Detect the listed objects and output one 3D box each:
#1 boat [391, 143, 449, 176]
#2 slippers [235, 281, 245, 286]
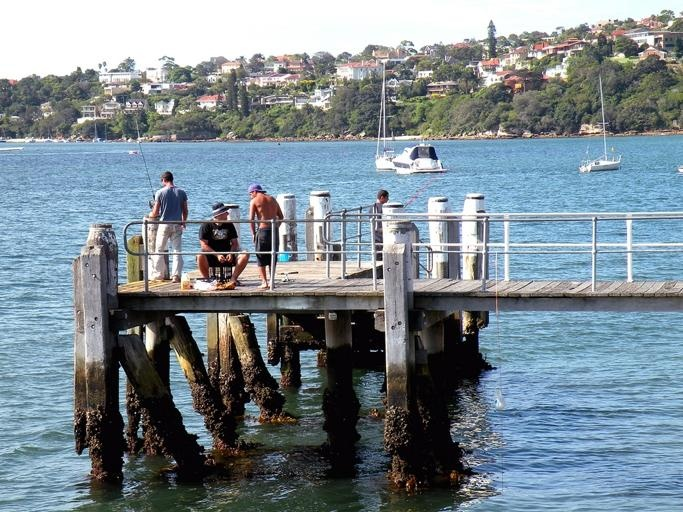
[{"bbox_3d":[6.711,-7.789,144.259,3.319,2.432,3.958,-4,6,-11],"label":"boat"},{"bbox_3d":[-3.630,1.052,61.684,0.316,0.145,0.483,-3,6,-4],"label":"slippers"}]
